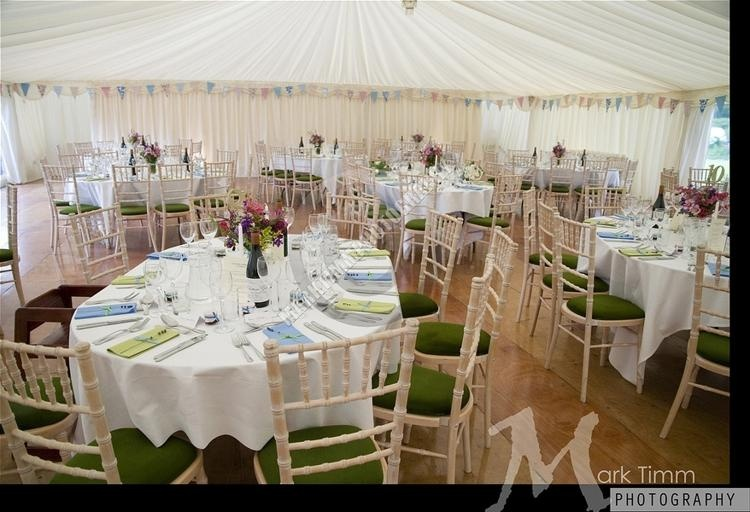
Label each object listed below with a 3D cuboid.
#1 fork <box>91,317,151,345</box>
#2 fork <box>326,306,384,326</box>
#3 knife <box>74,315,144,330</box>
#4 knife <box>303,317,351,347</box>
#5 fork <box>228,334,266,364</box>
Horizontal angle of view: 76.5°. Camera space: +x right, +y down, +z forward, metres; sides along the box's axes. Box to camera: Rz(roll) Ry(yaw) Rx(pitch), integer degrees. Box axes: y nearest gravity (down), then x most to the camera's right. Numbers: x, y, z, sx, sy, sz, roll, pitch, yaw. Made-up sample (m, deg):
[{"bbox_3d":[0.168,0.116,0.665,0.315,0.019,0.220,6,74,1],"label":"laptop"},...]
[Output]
[{"bbox_3d":[-1.445,0.443,2.733,0.082,0.052,0.350,19,21,19],"label":"fork"},{"bbox_3d":[-0.127,0.375,2.906,0.273,0.046,0.055,6,60,4],"label":"fork"},{"bbox_3d":[-1.584,0.402,2.831,0.379,0.018,0.051,-3,32,-17],"label":"knife"},{"bbox_3d":[-0.302,0.414,2.748,0.414,0.029,0.099,20,35,36],"label":"knife"},{"bbox_3d":[-0.692,0.512,2.608,0.087,0.033,0.294,-12,25,-25],"label":"fork"}]
